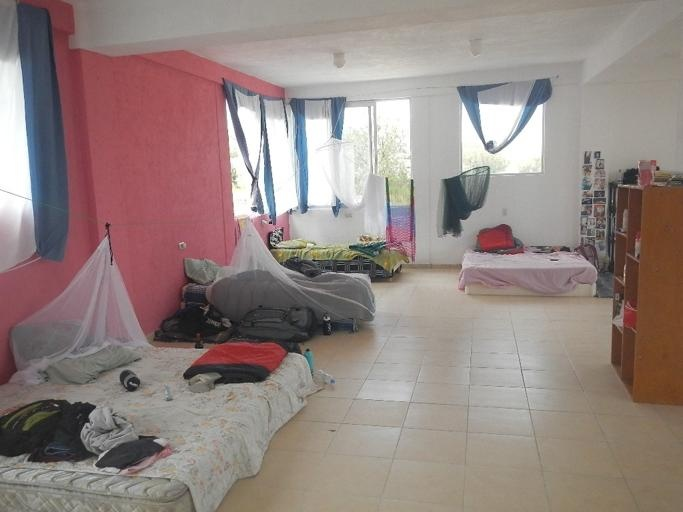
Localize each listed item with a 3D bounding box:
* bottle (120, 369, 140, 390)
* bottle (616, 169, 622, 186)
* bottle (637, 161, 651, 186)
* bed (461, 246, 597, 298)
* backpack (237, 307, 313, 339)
[{"bbox_3d":[-1.693,0.951,3.885,0.134,0.141,0.206,-4,4,-29],"label":"bottle"},{"bbox_3d":[4.361,-1.242,7.606,0.074,0.180,0.265,5,15,28],"label":"bottle"},{"bbox_3d":[2.402,-0.651,3.825,0.092,0.181,0.359,7,16,32],"label":"bottle"},{"bbox_3d":[2.637,0.251,7.062,1.765,0.414,0.880,1,14,13],"label":"bed"},{"bbox_3d":[-0.709,0.731,5.084,0.512,0.193,0.384,1,5,-1],"label":"backpack"}]
